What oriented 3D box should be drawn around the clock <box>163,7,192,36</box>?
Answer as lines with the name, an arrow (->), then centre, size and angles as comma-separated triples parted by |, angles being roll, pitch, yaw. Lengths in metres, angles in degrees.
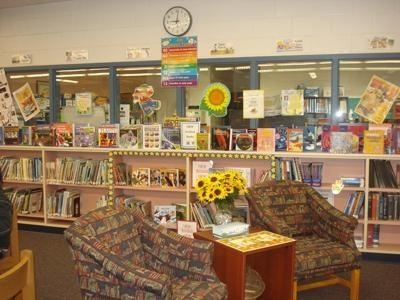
clock -> -0.339, -2.086, 5.788 | 0.403, 0.465, 0.127 | 2, 6, 17

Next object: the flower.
flower -> 0.226, 0.370, 3.697 | 0.388, 0.304, 0.417 | -2, 4, 4
